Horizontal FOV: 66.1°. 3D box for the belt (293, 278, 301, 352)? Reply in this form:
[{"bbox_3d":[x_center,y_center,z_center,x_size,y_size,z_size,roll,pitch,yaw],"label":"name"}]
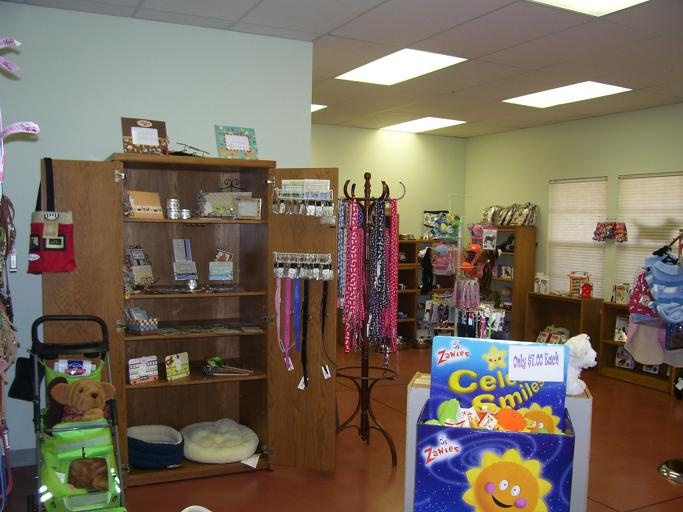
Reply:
[{"bbox_3d":[-0.369,0.513,4.520,0.056,0.613,0.032,-1,5,-13],"label":"belt"}]

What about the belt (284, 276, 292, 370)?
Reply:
[{"bbox_3d":[-0.446,0.587,4.516,0.073,0.761,0.033,0,5,-11],"label":"belt"}]

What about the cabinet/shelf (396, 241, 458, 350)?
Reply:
[{"bbox_3d":[1.261,0.586,8.980,0.560,1.823,1.375,1,5,8],"label":"cabinet/shelf"}]

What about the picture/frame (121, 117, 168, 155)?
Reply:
[{"bbox_3d":[-1.711,-1.038,4.595,0.455,0.474,0.050,0,-29,-25],"label":"picture/frame"}]

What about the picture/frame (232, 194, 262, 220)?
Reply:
[{"bbox_3d":[-0.823,-0.421,4.572,0.211,0.217,0.038,1,-12,-3],"label":"picture/frame"}]

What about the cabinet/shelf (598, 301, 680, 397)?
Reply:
[{"bbox_3d":[3.892,1.235,6.879,0.387,1.148,1.159,3,1,-38],"label":"cabinet/shelf"}]

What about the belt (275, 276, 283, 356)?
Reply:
[{"bbox_3d":[-0.509,0.497,4.507,0.059,0.559,0.060,-3,3,4],"label":"belt"}]

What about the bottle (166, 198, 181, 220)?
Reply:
[{"bbox_3d":[-1.418,-0.401,4.482,0.115,0.175,0.317,-1,5,-19],"label":"bottle"}]

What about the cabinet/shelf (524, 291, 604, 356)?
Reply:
[{"bbox_3d":[2.934,0.833,6.869,0.334,0.906,0.938,3,-2,-31],"label":"cabinet/shelf"}]

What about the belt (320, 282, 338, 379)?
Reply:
[{"bbox_3d":[-0.115,0.637,4.497,0.126,0.848,0.059,1,5,3],"label":"belt"}]

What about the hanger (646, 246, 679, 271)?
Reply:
[{"bbox_3d":[3.568,0.030,5.861,0.302,0.125,0.230,-3,14,7],"label":"hanger"}]

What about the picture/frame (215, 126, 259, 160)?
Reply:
[{"bbox_3d":[-0.985,-1.053,4.939,0.456,0.505,0.053,2,-28,-18],"label":"picture/frame"}]

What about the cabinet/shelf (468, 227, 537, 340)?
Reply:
[{"bbox_3d":[2.890,0.425,8.851,0.699,1.857,0.795,2,5,20],"label":"cabinet/shelf"}]

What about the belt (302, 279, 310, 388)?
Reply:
[{"bbox_3d":[-0.302,0.662,4.517,0.065,0.907,0.057,0,5,0],"label":"belt"}]

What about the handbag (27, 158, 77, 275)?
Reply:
[{"bbox_3d":[-2.176,-0.298,3.994,0.341,0.882,0.300,0,5,-2],"label":"handbag"}]
